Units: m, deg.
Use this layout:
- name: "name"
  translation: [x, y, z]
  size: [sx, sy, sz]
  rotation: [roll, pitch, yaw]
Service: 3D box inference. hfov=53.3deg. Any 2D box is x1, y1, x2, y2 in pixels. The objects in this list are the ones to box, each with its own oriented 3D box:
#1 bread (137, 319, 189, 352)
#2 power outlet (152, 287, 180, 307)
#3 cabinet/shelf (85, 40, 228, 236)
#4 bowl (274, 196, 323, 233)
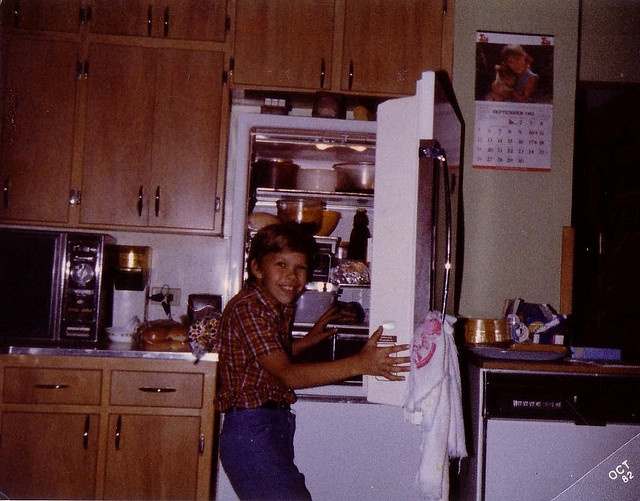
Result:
- name: "bread"
  translation: [-0.791, 0.427, 3.187]
  size: [0.322, 0.130, 0.214]
  rotation: [2, -4, 0]
- name: "power outlet"
  translation: [-0.856, 0.254, 3.552]
  size: [0.175, 0.107, 0.091]
  rotation: [3, -4, -20]
- name: "cabinet/shelf"
  translation: [-0.868, -0.614, 3.300]
  size: [0.799, 1.260, 0.411]
  rotation: [2, -2, -5]
- name: "bowl"
  translation: [-0.091, -0.194, 3.343]
  size: [0.176, 0.155, 0.192]
  rotation: [0, -6, 0]
